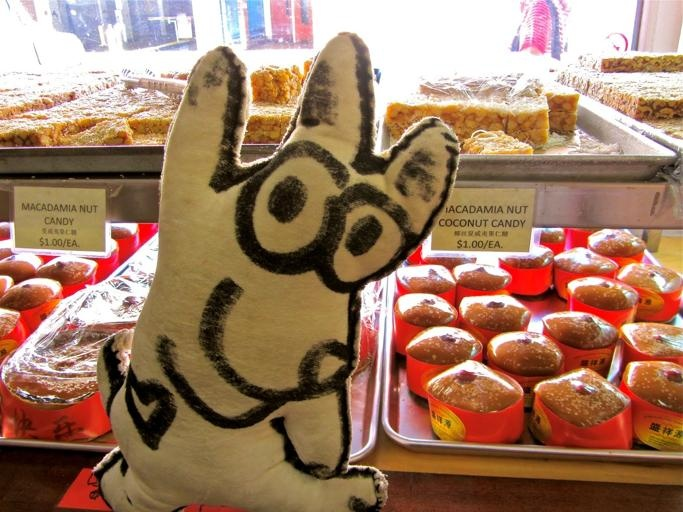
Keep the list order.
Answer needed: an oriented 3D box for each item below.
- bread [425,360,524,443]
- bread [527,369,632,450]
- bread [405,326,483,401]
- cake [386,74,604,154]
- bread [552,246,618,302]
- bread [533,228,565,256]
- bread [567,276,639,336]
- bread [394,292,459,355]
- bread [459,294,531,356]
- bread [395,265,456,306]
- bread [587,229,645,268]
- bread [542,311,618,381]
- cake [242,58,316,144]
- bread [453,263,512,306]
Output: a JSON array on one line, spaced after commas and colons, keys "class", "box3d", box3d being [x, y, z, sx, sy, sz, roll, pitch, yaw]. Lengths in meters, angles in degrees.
[{"class": "bread", "box3d": [0.273, 0.301, 1.257, 0.171, 0.117, 0.173, -11, 23, -21]}, {"class": "bread", "box3d": [0.508, 0.317, 1.270, 0.208, 0.104, 0.194, 5, 35, 3]}, {"class": "bread", "box3d": [0.217, 0.218, 1.339, 0.168, 0.117, 0.161, -4, 29, -9]}, {"class": "cake", "box3d": [0.380, -0.395, 1.567, 0.374, 0.099, 0.371, 6, 28, 11]}, {"class": "bread", "box3d": [0.688, 0.049, 1.677, 0.176, 0.123, 0.174, 8, 24, 29]}, {"class": "bread", "box3d": [0.590, -0.041, 1.691, 0.062, 0.052, 0.059, 0, 36, -11]}, {"class": "bread", "box3d": [0.637, 0.126, 1.444, 0.110, 0.063, 0.107, 9, 31, 14]}, {"class": "bread", "box3d": [0.211, 0.179, 1.514, 0.172, 0.151, 0.170, 10, 23, 19]}, {"class": "bread", "box3d": [0.385, 0.159, 1.501, 0.193, 0.093, 0.185, 0, 23, 3]}, {"class": "bread", "box3d": [0.226, 0.059, 1.571, 0.119, 0.082, 0.119, -7, 34, -10]}, {"class": "bread", "box3d": [0.787, -0.026, 1.724, 0.141, 0.070, 0.136, 6, 38, 12]}, {"class": "bread", "box3d": [0.572, 0.205, 1.424, 0.164, 0.145, 0.144, 21, 34, 35]}, {"class": "cake", "box3d": [-0.168, -0.424, 1.599, 0.167, 0.202, 0.549, -1, 17, -4]}, {"class": "bread", "box3d": [0.372, 0.065, 1.564, 0.121, 0.109, 0.116, 1, 33, -3]}]
